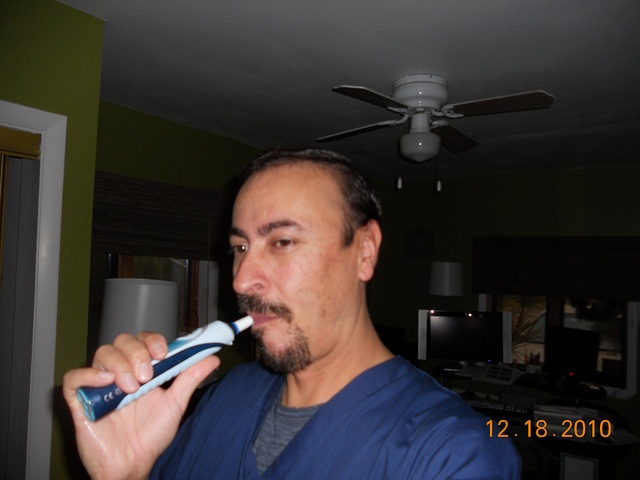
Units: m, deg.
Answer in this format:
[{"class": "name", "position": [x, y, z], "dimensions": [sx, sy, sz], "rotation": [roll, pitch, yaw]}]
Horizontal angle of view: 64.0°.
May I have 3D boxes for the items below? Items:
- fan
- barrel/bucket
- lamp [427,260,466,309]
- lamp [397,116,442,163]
[{"class": "fan", "position": [0.660, -0.801, 3.170], "dimensions": [1.142, 0.377, 1.150], "rotation": [-8, 28, -43]}, {"class": "barrel/bucket", "position": [-1.112, 0.389, 3.317], "dimensions": [0.500, 0.551, 0.485], "rotation": [2, -2, 0]}, {"class": "lamp", "position": [1.344, 0.440, 5.484], "dimensions": [0.379, 0.616, 0.366], "rotation": [2, -9, 10]}, {"class": "lamp", "position": [0.636, -0.639, 3.265], "dimensions": [0.263, 0.320, 0.272], "rotation": [-1, -6, 21]}]
